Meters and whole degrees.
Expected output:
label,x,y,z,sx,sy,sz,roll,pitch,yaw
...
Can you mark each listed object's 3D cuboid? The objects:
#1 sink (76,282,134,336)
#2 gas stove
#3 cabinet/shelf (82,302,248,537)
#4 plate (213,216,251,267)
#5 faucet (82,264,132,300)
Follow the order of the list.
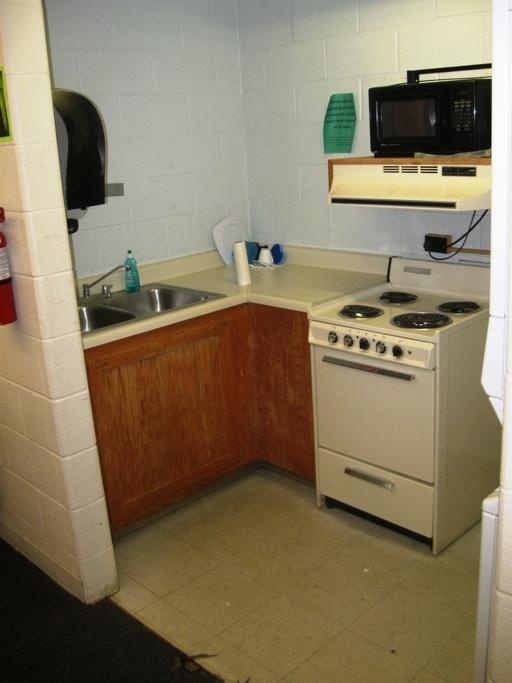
label,x,y,z,sx,sy,sz,roll,pitch,yaw
sink,-0.672,-0.112,2.354,0.214,0.110,0.280,-22,35,-39
gas stove,0.593,-0.081,2.145,0.578,0.195,0.578,-15,18,-40
cabinet/shelf,-0.393,0.319,2.216,0.754,0.741,0.404,-19,27,-39
plate,-0.138,-0.584,3.077,0.204,0.275,0.046,-20,18,-34
faucet,-0.740,-0.290,2.519,0.342,0.139,0.084,-10,2,39
